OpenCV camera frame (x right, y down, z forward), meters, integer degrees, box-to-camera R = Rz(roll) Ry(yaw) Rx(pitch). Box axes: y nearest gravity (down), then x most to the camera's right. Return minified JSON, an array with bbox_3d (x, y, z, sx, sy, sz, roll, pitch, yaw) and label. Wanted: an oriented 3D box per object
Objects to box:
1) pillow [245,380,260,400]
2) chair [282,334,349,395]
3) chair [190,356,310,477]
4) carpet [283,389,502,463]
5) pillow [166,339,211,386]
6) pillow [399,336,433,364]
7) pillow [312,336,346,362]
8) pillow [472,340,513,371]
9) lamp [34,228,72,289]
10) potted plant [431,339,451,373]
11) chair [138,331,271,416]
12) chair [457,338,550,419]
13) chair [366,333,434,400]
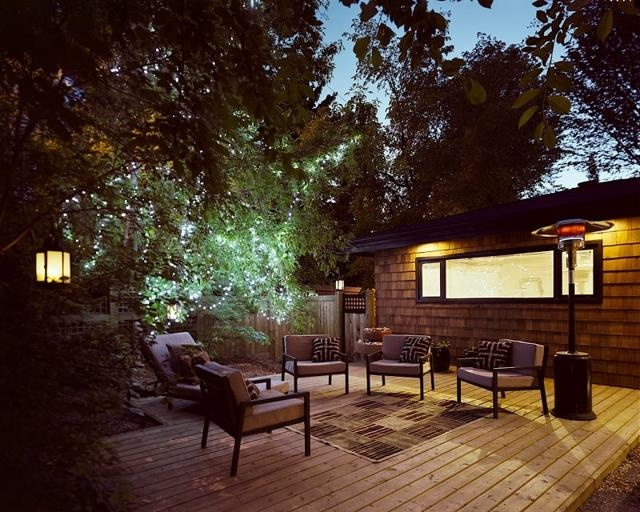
[{"bbox_3d":[-0.691,1.383,4.676,0.046,0.154,0.159,-37,-22,14],"label":"pillow"},{"bbox_3d":[-0.085,1.732,7.285,0.955,0.916,0.876,3,-14,-17],"label":"chair"},{"bbox_3d":[-0.674,1.568,4.668,0.990,1.030,0.873,0,-1,-33],"label":"chair"},{"bbox_3d":[0.888,2.032,5.609,2.303,0.053,1.614,1,-2,-41],"label":"carpet"},{"bbox_3d":[-1.858,1.472,6.367,0.655,0.630,0.195,15,-53,-46],"label":"pillow"},{"bbox_3d":[1.527,1.480,7.109,0.488,0.340,0.680,-1,-1,10],"label":"pillow"},{"bbox_3d":[0.136,1.563,7.566,0.545,0.503,0.175,0,-42,2],"label":"pillow"},{"bbox_3d":[2.571,1.428,6.476,0.141,0.406,0.424,32,-26,-32],"label":"pillow"},{"bbox_3d":[-2.028,0.006,3.434,0.232,0.470,0.202,-1,0,-33],"label":"lamp"},{"bbox_3d":[2.386,1.981,8.784,0.286,0.488,0.446,-1,-1,44],"label":"potted plant"},{"bbox_3d":[-2.025,1.520,6.372,1.187,0.993,1.925,2,-5,-44],"label":"chair"},{"bbox_3d":[2.483,1.589,6.243,0.909,1.062,1.142,2,-8,-14],"label":"chair"},{"bbox_3d":[1.284,1.713,7.131,1.026,1.038,0.866,-3,-10,25],"label":"chair"}]
